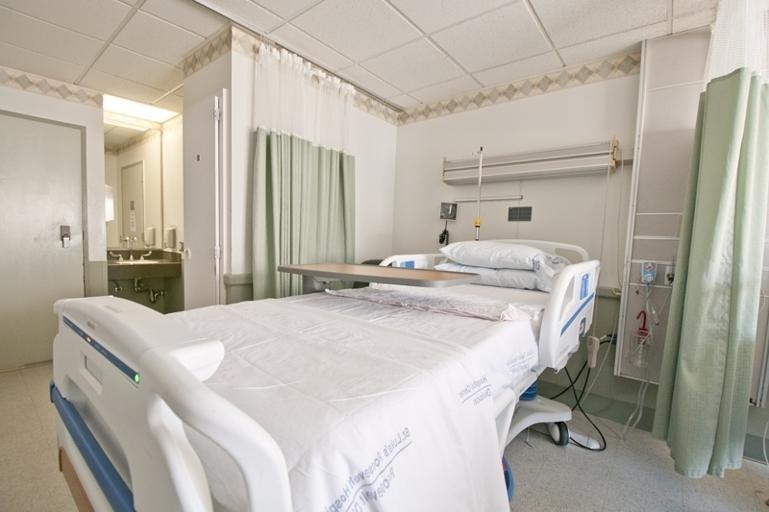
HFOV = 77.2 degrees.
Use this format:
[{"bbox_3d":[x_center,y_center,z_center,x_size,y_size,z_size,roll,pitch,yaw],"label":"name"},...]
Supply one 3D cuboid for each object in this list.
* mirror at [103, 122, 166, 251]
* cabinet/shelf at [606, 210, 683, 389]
[{"bbox_3d":[-3.289,-0.855,6.294,0.411,1.473,1.503,-2,4,-41],"label":"mirror"},{"bbox_3d":[2.135,0.334,3.936,0.414,1.364,0.128,3,4,32],"label":"cabinet/shelf"}]
